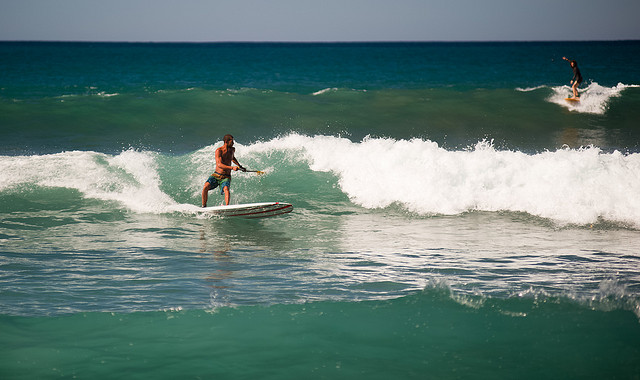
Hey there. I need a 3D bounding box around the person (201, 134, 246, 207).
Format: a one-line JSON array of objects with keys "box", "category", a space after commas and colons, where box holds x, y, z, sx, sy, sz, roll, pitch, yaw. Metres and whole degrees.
[{"box": [-3.155, -0.647, 21.954, 1.333, 2.321, 1.372, 0, 8, -6], "category": "person"}]
